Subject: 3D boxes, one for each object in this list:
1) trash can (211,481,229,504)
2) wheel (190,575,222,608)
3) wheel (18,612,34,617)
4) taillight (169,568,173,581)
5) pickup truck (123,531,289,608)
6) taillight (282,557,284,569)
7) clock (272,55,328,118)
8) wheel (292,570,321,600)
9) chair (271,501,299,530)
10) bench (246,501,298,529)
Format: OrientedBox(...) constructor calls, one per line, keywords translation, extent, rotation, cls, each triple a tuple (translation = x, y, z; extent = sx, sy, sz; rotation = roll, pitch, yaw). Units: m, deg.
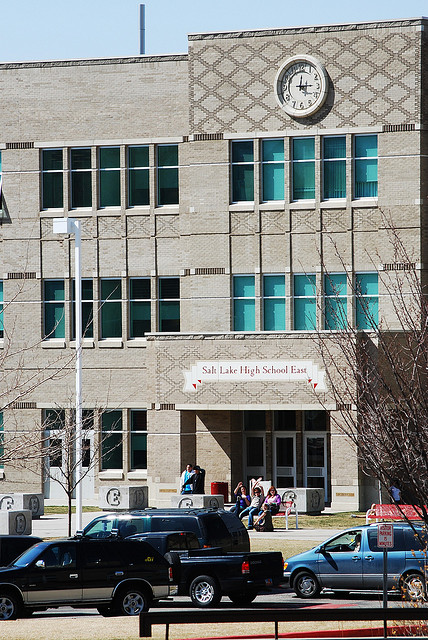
OrientedBox(translation=(0.188, 4.985, 48.798), extent=(0.481, 0.657, 0.539), rotation=(0, -3, 15), cls="trash can")
OrientedBox(translation=(-0.147, 4.993, 31.128), extent=(0.480, 0.585, 0.202), rotation=(2, -6, 33), cls="wheel")
OrientedBox(translation=(-3.466, 5.312, 30.583), extent=(0.153, 0.052, 0.180), rotation=(2, 0, -17), cls="wheel")
OrientedBox(translation=(-0.798, 4.610, 30.612), extent=(0.033, 0.223, 0.129), rotation=(-9, -18, 19), cls="taillight")
OrientedBox(translation=(-0.371, 4.808, 32.369), extent=(3.435, 1.418, 1.819), rotation=(-6, -6, 36), cls="pickup truck")
OrientedBox(translation=(1.332, 4.646, 32.443), extent=(0.038, 0.169, 0.091), rotation=(0, 11, -25), cls="taillight")
OrientedBox(translation=(2.586, -6.746, 49.855), extent=(1.575, 2.049, 0.255), rotation=(-5, -26, 11), cls="clock")
OrientedBox(translation=(1.822, 5.126, 32.759), extent=(0.442, 0.554, 0.191), rotation=(0, 1, 2), cls="wheel")
OrientedBox(translation=(2.020, 5.264, 45.840), extent=(0.667, 0.758, 0.549), rotation=(-6, -13, 30), cls="chair")
OrientedBox(translation=(1.909, 5.194, 45.432), extent=(0.784, 0.789, 0.842), rotation=(-6, -10, 21), cls="bench")
